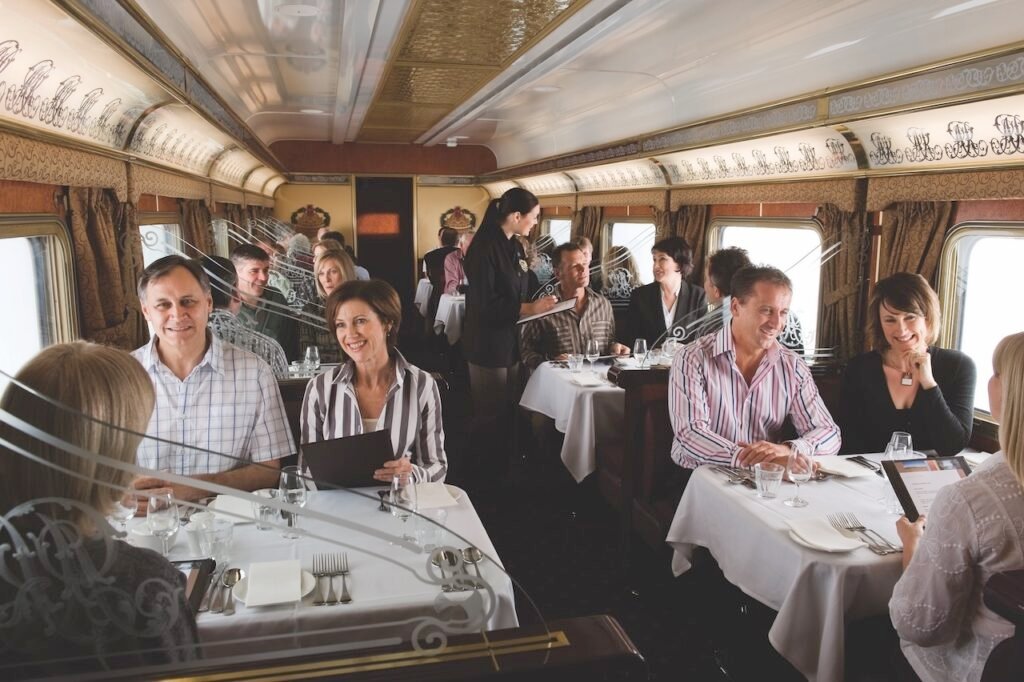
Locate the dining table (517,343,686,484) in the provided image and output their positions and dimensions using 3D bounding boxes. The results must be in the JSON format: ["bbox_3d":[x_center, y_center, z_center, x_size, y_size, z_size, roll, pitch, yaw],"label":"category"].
[{"bbox_3d":[0.633,0.684,6.110,1.273,0.676,1.108,-10,28,-27],"label":"dining table"}]

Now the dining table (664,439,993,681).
[{"bbox_3d":[1.532,1.146,3.544,1.333,0.512,1.292,-6,16,-16],"label":"dining table"}]

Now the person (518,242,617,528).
[{"bbox_3d":[0.679,0.360,7.303,1.091,3.132,1.012,-5,33,-5],"label":"person"}]

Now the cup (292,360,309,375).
[{"bbox_3d":[-1.870,0.237,5.540,0.121,0.086,0.119,2,4,0],"label":"cup"}]

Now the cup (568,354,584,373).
[{"bbox_3d":[0.672,0.232,6.450,0.162,0.171,0.159,0,-1,0],"label":"cup"}]

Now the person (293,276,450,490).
[{"bbox_3d":[-0.838,0.241,3.840,0.829,1.184,0.393,0,13,0],"label":"person"}]

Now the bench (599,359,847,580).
[{"bbox_3d":[1.773,0.935,5.521,1.707,2.217,1.655,-3,8,-22],"label":"bench"}]

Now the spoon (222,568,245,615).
[{"bbox_3d":[-1.069,0.955,2.399,0.060,0.044,0.320,7,7,-21],"label":"spoon"}]

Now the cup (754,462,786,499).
[{"bbox_3d":[1.449,0.789,3.567,0.176,0.178,0.177,0,0,0],"label":"cup"}]

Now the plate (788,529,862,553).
[{"bbox_3d":[1.568,0.996,3.139,0.326,0.054,0.146,1,12,3],"label":"plate"}]

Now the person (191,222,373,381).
[{"bbox_3d":[-2.348,-0.141,6.030,1.556,0.616,1.550,-4,32,-21],"label":"person"}]

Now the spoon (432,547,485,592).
[{"bbox_3d":[-0.171,0.618,1.750,0.135,0.130,0.033,-7,2,-31],"label":"spoon"}]

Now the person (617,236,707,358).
[{"bbox_3d":[1.803,-0.450,7.353,0.974,1.483,1.024,3,11,23],"label":"person"}]
